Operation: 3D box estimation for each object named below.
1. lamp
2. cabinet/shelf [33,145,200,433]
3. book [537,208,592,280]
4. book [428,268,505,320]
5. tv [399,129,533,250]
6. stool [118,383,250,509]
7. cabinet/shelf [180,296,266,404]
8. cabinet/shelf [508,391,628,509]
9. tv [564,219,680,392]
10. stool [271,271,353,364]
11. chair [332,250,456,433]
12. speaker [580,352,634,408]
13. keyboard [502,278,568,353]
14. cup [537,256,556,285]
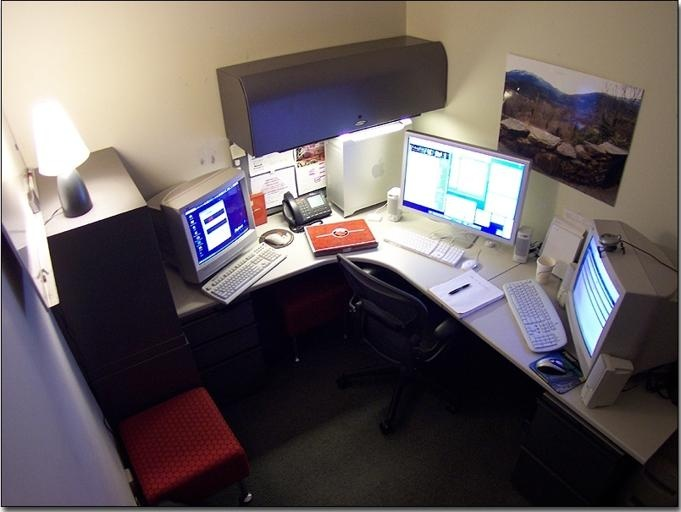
[{"bbox_3d":[-1.287,-0.452,2.321,0.201,0.497,0.233,-11,29,-15],"label":"lamp"},{"bbox_3d":[-1.199,0.237,2.676,0.563,1.224,0.510,-21,33,-31],"label":"cabinet/shelf"},{"bbox_3d":[1.226,-0.060,2.715,0.179,0.357,0.200,-21,50,-40],"label":"book"},{"bbox_3d":[0.695,0.203,2.767,0.339,0.087,0.258,-16,32,-23],"label":"book"},{"bbox_3d":[0.767,-0.396,2.972,0.642,0.477,0.091,25,39,27],"label":"tv"},{"bbox_3d":[-0.812,0.999,2.587,0.498,0.436,0.510,-20,51,-24],"label":"stool"},{"bbox_3d":[-0.712,0.553,2.946,0.326,0.584,0.366,-27,56,-21],"label":"cabinet/shelf"},{"bbox_3d":[1.100,0.942,2.383,0.317,0.573,0.329,-16,52,-15],"label":"cabinet/shelf"},{"bbox_3d":[1.281,0.240,2.247,0.308,0.541,0.586,0,44,10],"label":"tv"},{"bbox_3d":[-0.209,0.311,3.571,0.557,0.557,0.535,-24,46,-23],"label":"stool"},{"bbox_3d":[0.334,0.530,3.028,0.552,0.715,0.578,-34,57,-23],"label":"chair"},{"bbox_3d":[1.185,0.552,2.214,0.118,0.243,0.117,12,35,-5],"label":"speaker"},{"bbox_3d":[1.003,0.316,2.597,0.240,0.050,0.485,-7,43,3],"label":"keyboard"},{"bbox_3d":[1.141,0.079,2.779,0.099,0.128,0.099,4,34,-3],"label":"cup"}]
